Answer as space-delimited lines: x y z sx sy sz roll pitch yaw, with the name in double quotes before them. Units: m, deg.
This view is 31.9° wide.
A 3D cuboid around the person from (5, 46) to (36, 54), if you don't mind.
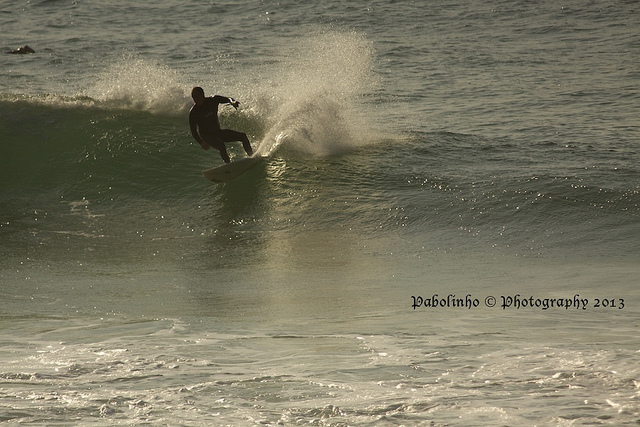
"person" -8.928 -4.783 32.903 1.097 0.259 0.259 -4 16 -6
